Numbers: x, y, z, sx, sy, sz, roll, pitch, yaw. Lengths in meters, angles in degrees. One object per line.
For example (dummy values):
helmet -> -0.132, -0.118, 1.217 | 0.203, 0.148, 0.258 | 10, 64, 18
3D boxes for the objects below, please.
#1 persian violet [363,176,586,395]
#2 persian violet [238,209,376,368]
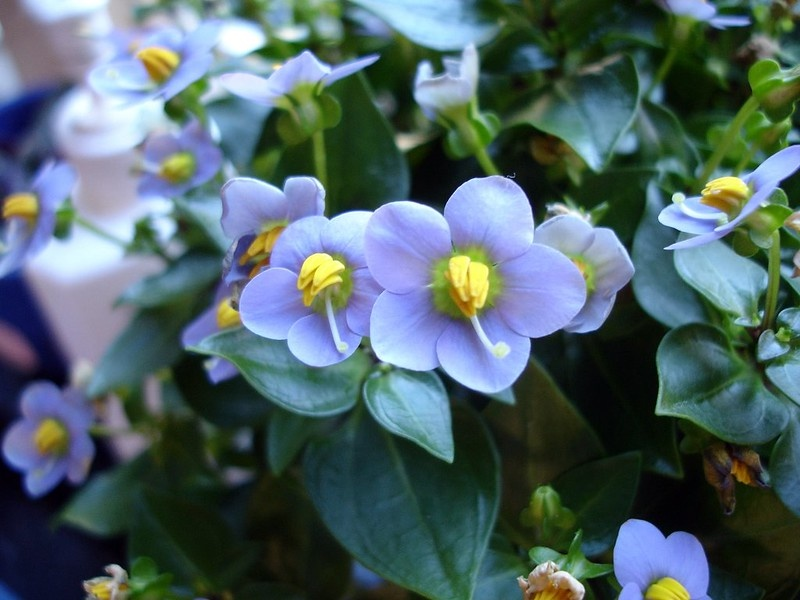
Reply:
persian violet -> 0.065, -0.015, 0.786 | 0.198, 0.147, 0.113 | 4, 39, -4
persian violet -> -0.087, -0.023, 0.779 | 0.122, 0.143, 0.051 | -6, 5, 15
